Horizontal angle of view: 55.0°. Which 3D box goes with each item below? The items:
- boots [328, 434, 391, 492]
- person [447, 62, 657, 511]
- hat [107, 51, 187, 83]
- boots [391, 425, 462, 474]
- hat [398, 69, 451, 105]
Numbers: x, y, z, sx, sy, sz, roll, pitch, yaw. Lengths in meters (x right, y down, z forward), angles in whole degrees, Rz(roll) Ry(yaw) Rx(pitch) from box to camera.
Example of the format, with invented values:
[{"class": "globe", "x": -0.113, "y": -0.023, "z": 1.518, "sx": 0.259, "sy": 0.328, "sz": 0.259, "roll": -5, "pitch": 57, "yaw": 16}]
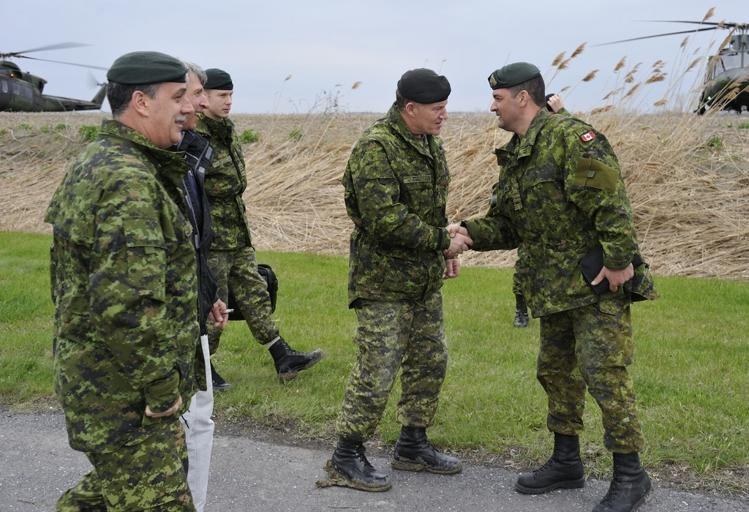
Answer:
[{"class": "boots", "x": -0.133, "y": 1.561, "z": 5.499, "sx": 0.574, "sy": 0.354, "sz": 0.224, "roll": 4, "pitch": -1, "yaw": 39}, {"class": "person", "x": 1.418, "y": 0.161, "z": 5.385, "sx": 0.649, "sy": 3.202, "sz": 1.453, "roll": -5, "pitch": 11, "yaw": -42}, {"class": "hat", "x": -1.382, "y": -1.166, "z": 4.402, "sx": 0.545, "sy": 0.153, "sz": 0.421, "roll": 4, "pitch": 16, "yaw": 16}, {"class": "boots", "x": 0.496, "y": 1.566, "z": 5.807, "sx": 0.733, "sy": 0.460, "sz": 0.241, "roll": 0, "pitch": -2, "yaw": 5}, {"class": "hat", "x": 0.370, "y": -1.302, "z": 5.521, "sx": 0.396, "sy": 0.275, "sz": 0.126, "roll": 2, "pitch": 8, "yaw": 2}]
